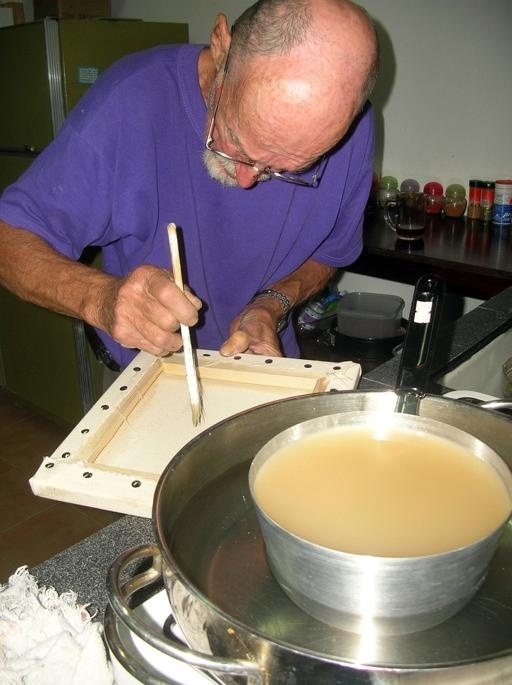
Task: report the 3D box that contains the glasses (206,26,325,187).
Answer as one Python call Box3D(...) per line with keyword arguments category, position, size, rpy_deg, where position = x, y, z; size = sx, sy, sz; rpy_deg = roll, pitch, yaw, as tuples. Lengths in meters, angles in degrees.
Box3D(category="glasses", position=(0.020, -0.376, 1.003), size=(0.054, 0.175, 0.180), rpy_deg=(3, -2, 44))

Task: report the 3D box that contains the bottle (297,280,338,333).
Box3D(category="bottle", position=(0.284, -0.152, 2.579), size=(0.147, 0.060, 0.266), rpy_deg=(15, 42, 31))
